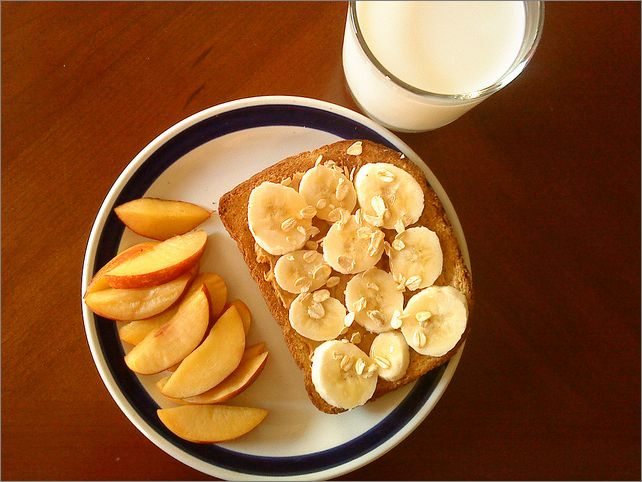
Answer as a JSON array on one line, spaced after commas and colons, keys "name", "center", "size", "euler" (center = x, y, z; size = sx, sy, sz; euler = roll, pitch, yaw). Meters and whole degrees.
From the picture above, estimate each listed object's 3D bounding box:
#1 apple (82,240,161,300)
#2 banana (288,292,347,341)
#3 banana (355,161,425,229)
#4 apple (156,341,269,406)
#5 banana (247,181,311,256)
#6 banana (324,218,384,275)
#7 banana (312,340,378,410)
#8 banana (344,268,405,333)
[{"name": "apple", "center": [-0.751, 0.121, 2.317], "size": [0.223, 0.069, 0.180], "euler": [-28, 51, -3]}, {"name": "banana", "center": [-0.011, 0.266, 2.178], "size": [0.196, 0.031, 0.175], "euler": [0, 82, -2]}, {"name": "banana", "center": [0.241, -0.154, 2.191], "size": [0.256, 0.040, 0.228], "euler": [16, 82, 1]}, {"name": "apple", "center": [-0.382, 0.457, 2.298], "size": [0.283, 0.245, 0.094], "euler": [-39, 104, -12]}, {"name": "banana", "center": [-0.151, -0.074, 2.191], "size": [0.250, 0.060, 0.231], "euler": [27, 82, 2]}, {"name": "banana", "center": [0.114, 0.022, 2.175], "size": [0.206, 0.040, 0.199], "euler": [27, 82, 2]}, {"name": "banana", "center": [0.077, 0.471, 2.162], "size": [0.249, 0.081, 0.216], "euler": [31, 82, 3]}, {"name": "banana", "center": [0.190, 0.206, 2.176], "size": [0.213, 0.048, 0.201], "euler": [31, 82, 3]}]
